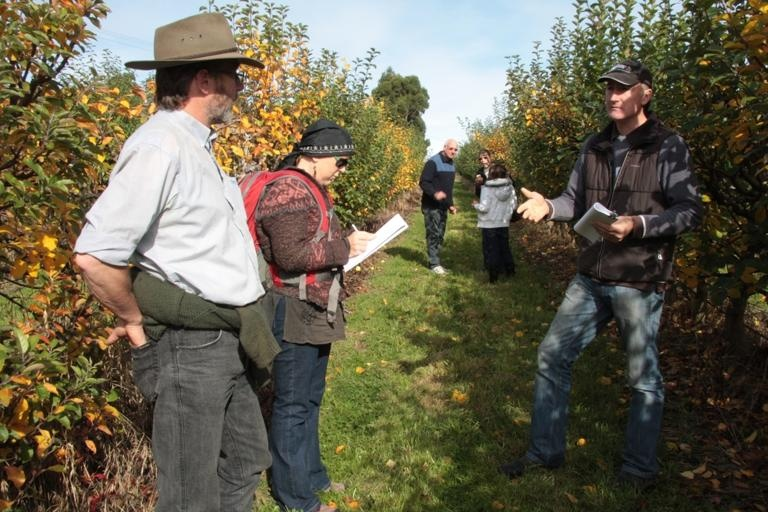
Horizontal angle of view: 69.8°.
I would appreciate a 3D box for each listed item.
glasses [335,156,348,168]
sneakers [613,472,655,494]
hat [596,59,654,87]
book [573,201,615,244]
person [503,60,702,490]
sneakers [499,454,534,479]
[{"bbox_3d":[-0.331,-0.728,4.205,0.077,0.076,0.023,2,-30,-31],"label":"glasses"},{"bbox_3d":[2.055,1.822,4.433,0.298,0.131,0.109,0,5,8],"label":"sneakers"},{"bbox_3d":[1.949,-1.464,4.451,0.368,0.169,0.252,5,9,-10],"label":"hat"},{"bbox_3d":[1.598,-0.253,4.183,0.316,0.082,0.300,29,-31,1],"label":"book"},{"bbox_3d":[1.869,0.116,4.483,1.232,3.378,0.801,1,6,29],"label":"person"},{"bbox_3d":[1.129,1.788,4.647,0.257,0.137,0.107,-23,-52,41],"label":"sneakers"}]
